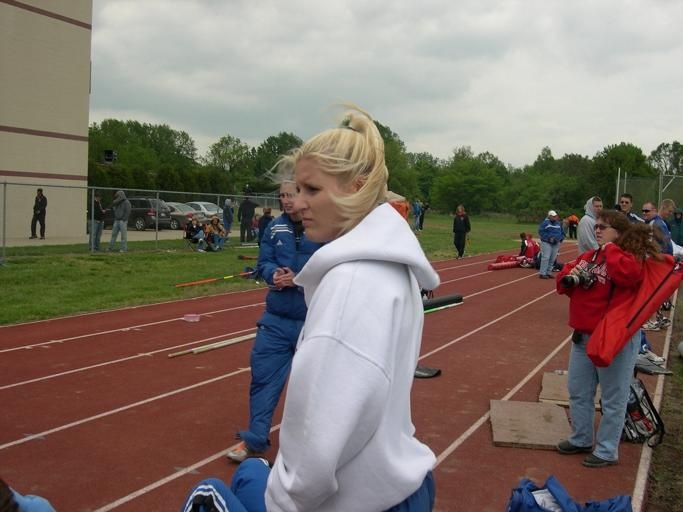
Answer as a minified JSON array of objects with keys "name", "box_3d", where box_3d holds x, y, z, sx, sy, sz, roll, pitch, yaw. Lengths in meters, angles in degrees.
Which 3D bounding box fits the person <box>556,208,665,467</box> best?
[{"name":"person","box_3d":[2.490,0.748,5.574,0.811,2.390,0.766,-6,12,-35]}]

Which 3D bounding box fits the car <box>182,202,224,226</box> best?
[{"name":"car","box_3d":[-7.018,-2.172,28.597,1.318,1.050,2.967,-10,22,-44]}]

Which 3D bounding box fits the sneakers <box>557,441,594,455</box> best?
[{"name":"sneakers","box_3d":[2.297,1.874,5.622,0.285,0.137,0.136,4,-1,5]}]

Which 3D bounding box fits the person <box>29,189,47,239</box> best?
[{"name":"person","box_3d":[-11.205,-1.585,21.077,0.597,1.897,1.370,-5,11,-28]}]

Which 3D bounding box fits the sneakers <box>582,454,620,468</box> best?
[{"name":"sneakers","box_3d":[2.452,1.926,5.442,0.304,0.152,0.125,4,-6,2]}]
